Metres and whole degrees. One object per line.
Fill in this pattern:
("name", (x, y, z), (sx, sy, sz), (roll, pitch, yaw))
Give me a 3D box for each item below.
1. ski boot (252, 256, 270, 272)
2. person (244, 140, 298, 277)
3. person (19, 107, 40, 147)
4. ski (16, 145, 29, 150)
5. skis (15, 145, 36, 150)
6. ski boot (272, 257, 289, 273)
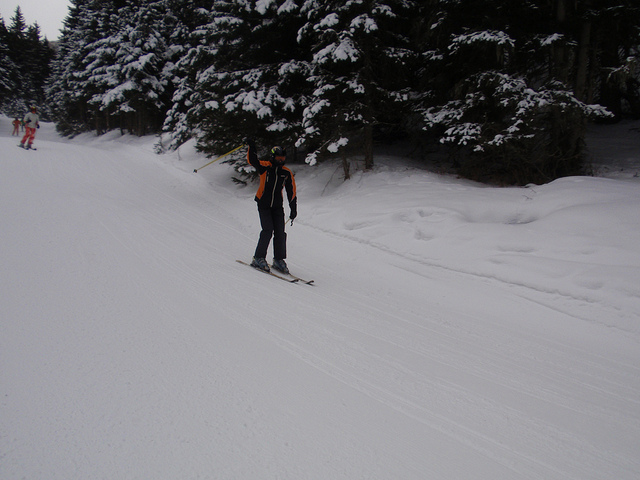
("ski boot", (-1.091, 0.421, 9.203), (0.409, 0.174, 0.147), (29, 25, 12))
("person", (-0.876, -0.570, 9.147), (0.880, 2.211, 1.102), (0, 14, -7))
("person", (-10.575, -4.089, 17.894), (0.627, 1.387, 2.124), (-6, 16, -30))
("ski", (-10.556, -3.283, 17.476), (0.852, 0.094, 0.098), (26, 8, 36))
("skis", (-10.457, -3.308, 17.567), (0.767, 0.080, 0.115), (24, 22, 9))
("ski boot", (-0.737, 0.455, 9.210), (0.432, 0.199, 0.143), (22, 25, 38))
